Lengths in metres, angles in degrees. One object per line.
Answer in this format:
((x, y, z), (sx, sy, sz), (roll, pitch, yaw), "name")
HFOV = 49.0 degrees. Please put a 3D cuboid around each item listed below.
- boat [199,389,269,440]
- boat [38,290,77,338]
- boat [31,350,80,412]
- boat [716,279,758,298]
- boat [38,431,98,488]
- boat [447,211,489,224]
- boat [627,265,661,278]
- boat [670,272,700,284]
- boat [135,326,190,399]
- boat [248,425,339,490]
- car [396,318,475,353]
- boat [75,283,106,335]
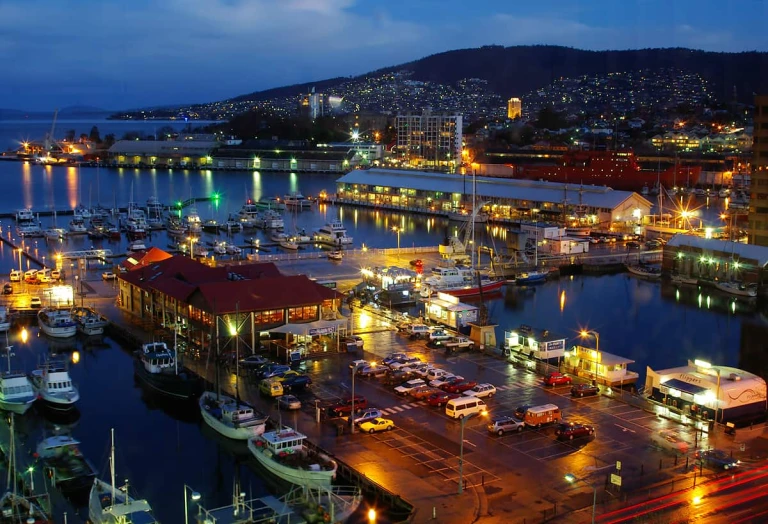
((-6.755, 6.971, 37.715), (4.186, 1.453, 1.382), (16, 19, 42), "boat")
((-18.894, 3.171, 49.453), (1.697, 1.987, 4.859), (-2, 9, -27), "boat")
((-16.226, 5.634, 41.208), (1.682, 1.925, 5.667), (-2, 12, -37), "boat")
((25.253, 2.067, 60.526), (1.742, 0.675, 1.099), (11, 20, 34), "boat")
((-13.293, 8.063, 35.079), (1.918, 1.199, 3.365), (-8, 24, -37), "boat")
((8.995, -4.586, 89.304), (4.145, 0.986, 1.000), (19, 35, 27), "boat")
((20.190, 0.835, 66.005), (0.810, 0.725, 2.418), (-19, 34, -42), "boat")
((22.602, 1.490, 64.082), (1.057, 0.605, 2.268), (-5, 16, -28), "boat")
((-11.170, 5.289, 42.498), (1.546, 2.424, 5.680), (-5, 11, -29), "boat")
((-3.831, 8.003, 35.006), (2.279, 1.855, 5.029), (-2, 13, -40), "boat")
((2.644, 4.088, 46.619), (4.561, 0.729, 1.845), (15, 19, 40), "car")
((-17.306, 2.781, 49.434), (1.124, 2.080, 3.770), (-7, 17, -28), "boat")
